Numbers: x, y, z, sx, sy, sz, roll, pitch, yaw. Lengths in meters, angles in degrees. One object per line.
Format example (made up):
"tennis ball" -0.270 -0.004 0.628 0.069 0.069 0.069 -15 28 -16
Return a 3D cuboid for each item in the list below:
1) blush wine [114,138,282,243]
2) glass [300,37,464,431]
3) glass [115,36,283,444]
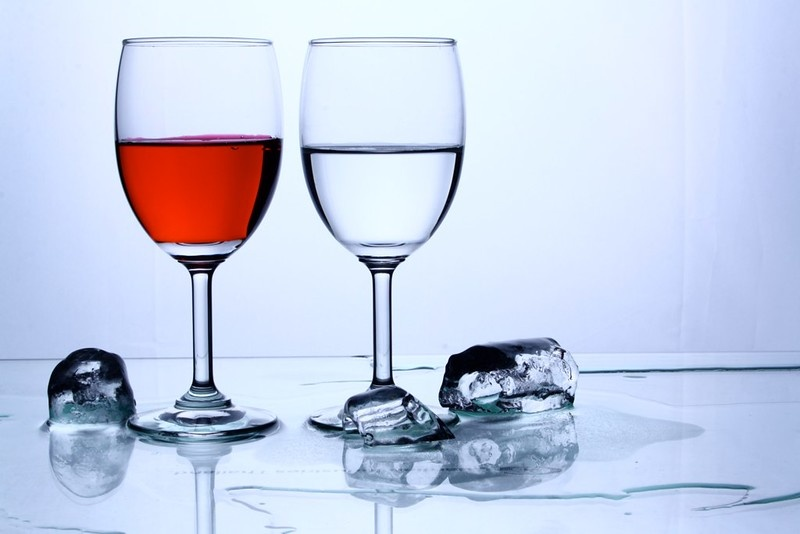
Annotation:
"blush wine" -0.186 -0.060 0.802 0.146 0.086 0.141 -2 -7 -25
"glass" -0.017 -0.032 0.739 0.146 0.328 0.120 -1 10 3
"glass" -0.169 -0.038 0.764 0.140 0.324 0.071 -4 10 -16
